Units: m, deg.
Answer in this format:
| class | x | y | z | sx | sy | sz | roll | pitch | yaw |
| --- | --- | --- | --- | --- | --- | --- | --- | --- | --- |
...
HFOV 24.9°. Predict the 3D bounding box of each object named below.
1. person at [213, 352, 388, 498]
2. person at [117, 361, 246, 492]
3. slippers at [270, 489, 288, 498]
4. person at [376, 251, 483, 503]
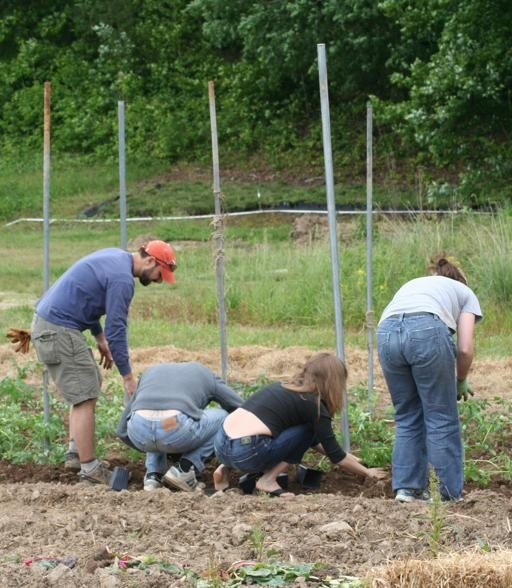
| class | x | y | z | sx | sy | sz | roll | pitch | yaw |
| --- | --- | --- | --- | --- | --- | --- | --- | --- | --- |
| person | 0.416 | 1.089 | 9.915 | 1.508 | 1.172 | 0.794 | -1 | 5 | -12 |
| person | -0.678 | 1.150 | 10.247 | 1.121 | 1.120 | 1.456 | -2 | -3 | 6 |
| slippers | 0.193 | 1.660 | 9.619 | 0.136 | 0.035 | 0.058 | -3 | 7 | 10 |
| person | 1.447 | 0.729 | 9.555 | 0.845 | 1.956 | 0.631 | -5 | 3 | 8 |
